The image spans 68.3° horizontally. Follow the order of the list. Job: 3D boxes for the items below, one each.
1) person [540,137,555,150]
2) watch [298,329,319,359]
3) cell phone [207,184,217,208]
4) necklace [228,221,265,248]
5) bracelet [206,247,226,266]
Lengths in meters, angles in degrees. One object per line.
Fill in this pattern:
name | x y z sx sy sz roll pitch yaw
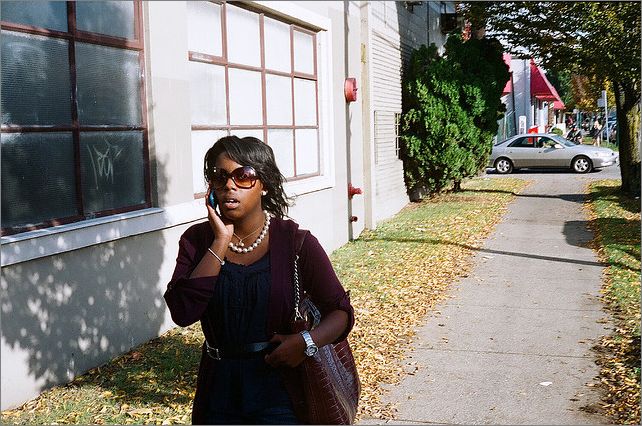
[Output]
person | 11.467 -3.536 23.837 0.868 0.620 0.295 5 11 22
watch | -0.064 0.624 2.334 0.074 0.122 0.119 -27 39 -3
cell phone | -0.592 -0.080 2.577 0.024 0.094 0.064 -15 -3 -11
necklace | -0.372 0.113 2.483 0.119 0.024 0.152 12 55 44
bracelet | -0.528 0.226 2.415 0.024 0.086 0.085 -43 4 -6
